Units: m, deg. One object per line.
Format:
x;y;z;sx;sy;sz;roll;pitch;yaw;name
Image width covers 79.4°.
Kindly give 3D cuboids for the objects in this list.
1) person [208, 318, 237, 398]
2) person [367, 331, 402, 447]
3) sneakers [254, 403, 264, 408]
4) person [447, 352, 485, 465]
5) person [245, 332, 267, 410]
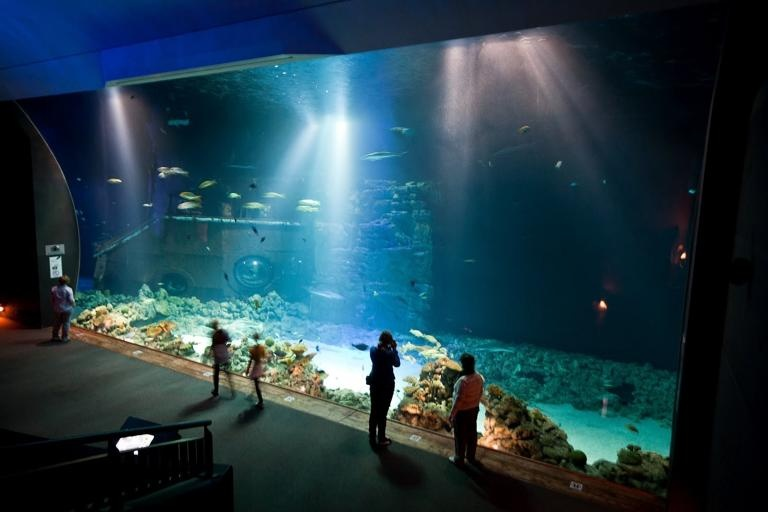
-5.173;3.251;14.916;0.892;1.704;1.183;6;-4;-17;person
-0.073;3.769;13.263;0.865;3.300;0.513;5;-3;3;person
-3.812;4.556;14.154;0.266;0.164;0.131;-1;-2;5;sneakers
2.260;4.206;12.818;0.830;3.056;0.557;4;-4;10;person
-3.965;3.659;14.431;0.561;1.401;0.920;6;-4;-15;person
